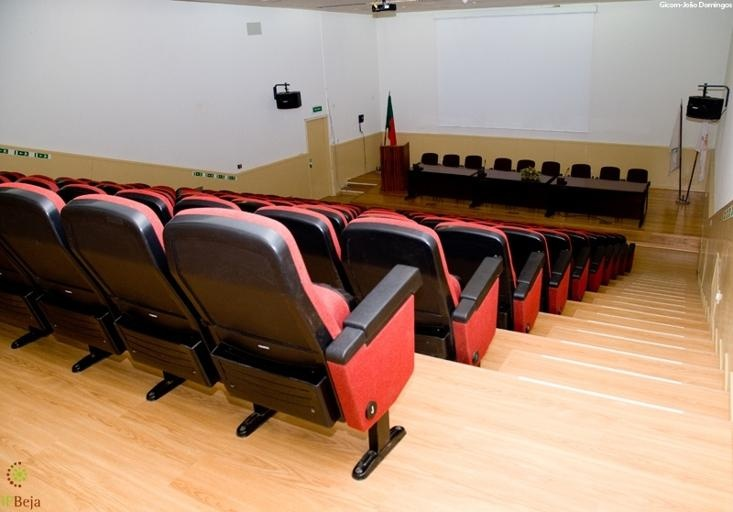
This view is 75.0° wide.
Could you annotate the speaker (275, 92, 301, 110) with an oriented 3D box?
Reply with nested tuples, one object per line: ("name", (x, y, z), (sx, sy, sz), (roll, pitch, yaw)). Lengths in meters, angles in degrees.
("speaker", (-1.766, -3.676, 11.265), (0.509, 0.344, 0.488), (12, 22, 30))

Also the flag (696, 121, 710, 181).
("flag", (7.966, -2.536, 11.349), (0.269, 0.441, 1.921), (19, 49, 20))

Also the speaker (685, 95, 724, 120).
("speaker", (7.189, -3.174, 10.246), (0.617, 0.485, 0.627), (6, 21, 27))

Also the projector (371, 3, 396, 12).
("projector", (0.418, -5.215, 10.080), (0.403, 0.144, 0.376), (5, 23, 13))
